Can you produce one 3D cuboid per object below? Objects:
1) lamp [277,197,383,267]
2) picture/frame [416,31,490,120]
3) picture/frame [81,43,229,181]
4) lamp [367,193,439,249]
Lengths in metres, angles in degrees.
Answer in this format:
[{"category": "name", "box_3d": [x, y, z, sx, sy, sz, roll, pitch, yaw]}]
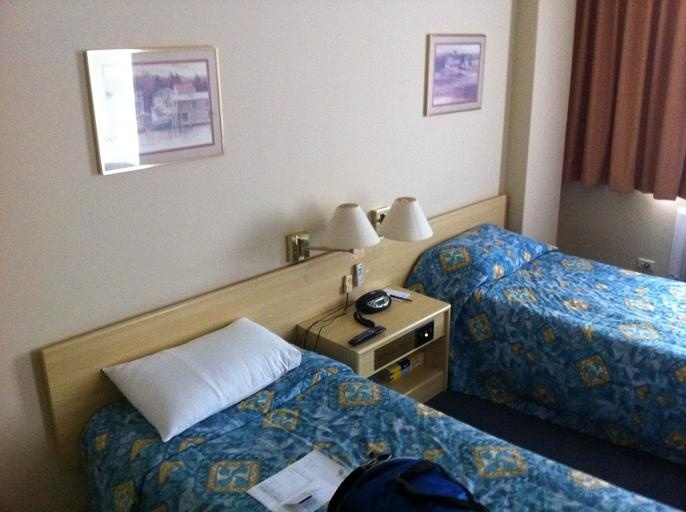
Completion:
[{"category": "lamp", "box_3d": [-0.061, -0.153, 3.090, 0.523, 0.368, 0.334, 7, 25, 26]}, {"category": "picture/frame", "box_3d": [0.787, -1.325, 3.714, 0.656, 0.563, 0.048, -19, 27, -41]}, {"category": "picture/frame", "box_3d": [-0.927, -0.700, 2.440, 0.632, 0.518, 0.028, -21, 30, -39]}, {"category": "lamp", "box_3d": [0.370, -0.241, 3.188, 0.347, 0.187, 0.313, -10, 18, -38]}]
